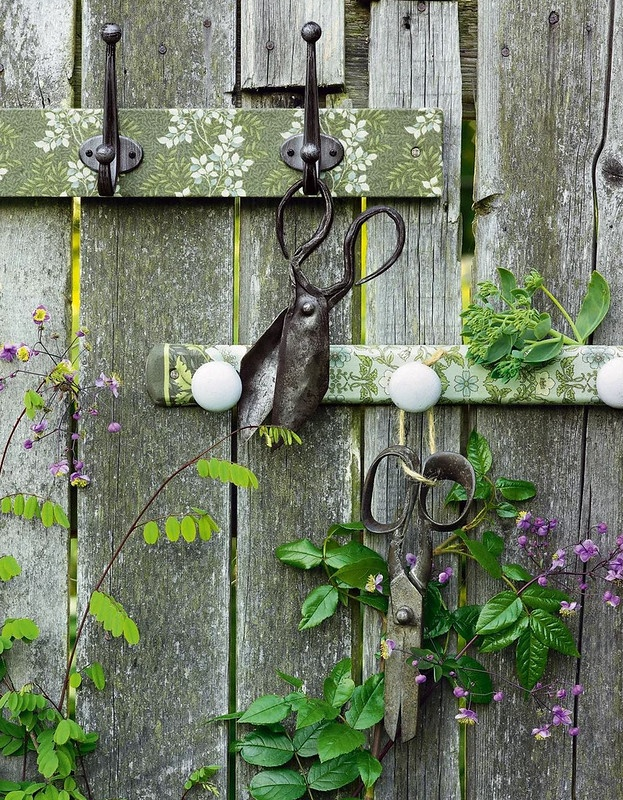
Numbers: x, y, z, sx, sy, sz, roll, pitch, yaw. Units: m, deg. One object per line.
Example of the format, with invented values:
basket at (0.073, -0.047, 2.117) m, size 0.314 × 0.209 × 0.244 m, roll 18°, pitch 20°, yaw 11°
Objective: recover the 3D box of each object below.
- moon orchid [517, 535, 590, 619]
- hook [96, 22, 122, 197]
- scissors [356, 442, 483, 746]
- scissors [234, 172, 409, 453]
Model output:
moon orchid at (0.367, 0.251, 2.542) m, size 0.102 × 0.133 × 0.056 m, roll -12°, pitch 1°, yaw -15°
hook at (-0.306, -0.430, 2.528) m, size 0.038 × 0.252 × 0.120 m, roll -1°, pitch 12°, yaw -8°
scissors at (0.137, 0.281, 2.459) m, size 0.161 × 0.053 × 0.482 m, roll 5°, pitch 52°, yaw 7°
scissors at (-0.022, -0.083, 2.457) m, size 0.170 × 0.467 × 0.045 m, roll 13°, pitch 3°, yaw 11°
